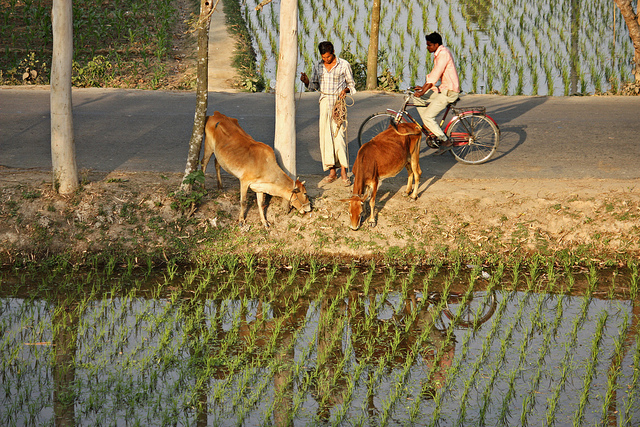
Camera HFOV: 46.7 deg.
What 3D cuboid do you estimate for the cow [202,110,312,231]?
[{"bbox_3d":[-1.220,-0.747,13.368,1.986,2.003,0.552,4,15,16],"label":"cow"}]

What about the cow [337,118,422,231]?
[{"bbox_3d":[1.135,-0.646,13.693,0.607,1.480,2.467,6,28,40],"label":"cow"}]

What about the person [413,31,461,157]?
[{"bbox_3d":[2.285,-2.317,14.809,0.871,2.467,0.791,1,14,8],"label":"person"}]
